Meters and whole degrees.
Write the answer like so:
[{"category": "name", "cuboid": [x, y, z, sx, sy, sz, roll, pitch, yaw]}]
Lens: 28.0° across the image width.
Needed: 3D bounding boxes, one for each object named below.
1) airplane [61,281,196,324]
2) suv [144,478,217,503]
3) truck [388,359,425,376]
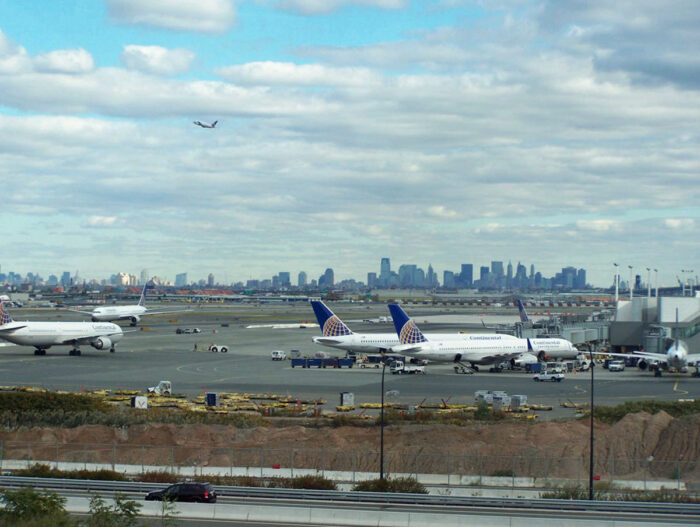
[{"category": "airplane", "cuboid": [-46.466, 7.081, 241.769, 21.943, 7.140, 28.701, -5, -4, 36]}, {"category": "suv", "cuboid": [-13.140, 18.222, 111.812, 5.107, 1.434, 2.252, 0, -3, 0]}, {"category": "truck", "cuboid": [7.113, 12.123, 163.627, 4.556, 1.208, 1.517, 3, -6, -16]}]
